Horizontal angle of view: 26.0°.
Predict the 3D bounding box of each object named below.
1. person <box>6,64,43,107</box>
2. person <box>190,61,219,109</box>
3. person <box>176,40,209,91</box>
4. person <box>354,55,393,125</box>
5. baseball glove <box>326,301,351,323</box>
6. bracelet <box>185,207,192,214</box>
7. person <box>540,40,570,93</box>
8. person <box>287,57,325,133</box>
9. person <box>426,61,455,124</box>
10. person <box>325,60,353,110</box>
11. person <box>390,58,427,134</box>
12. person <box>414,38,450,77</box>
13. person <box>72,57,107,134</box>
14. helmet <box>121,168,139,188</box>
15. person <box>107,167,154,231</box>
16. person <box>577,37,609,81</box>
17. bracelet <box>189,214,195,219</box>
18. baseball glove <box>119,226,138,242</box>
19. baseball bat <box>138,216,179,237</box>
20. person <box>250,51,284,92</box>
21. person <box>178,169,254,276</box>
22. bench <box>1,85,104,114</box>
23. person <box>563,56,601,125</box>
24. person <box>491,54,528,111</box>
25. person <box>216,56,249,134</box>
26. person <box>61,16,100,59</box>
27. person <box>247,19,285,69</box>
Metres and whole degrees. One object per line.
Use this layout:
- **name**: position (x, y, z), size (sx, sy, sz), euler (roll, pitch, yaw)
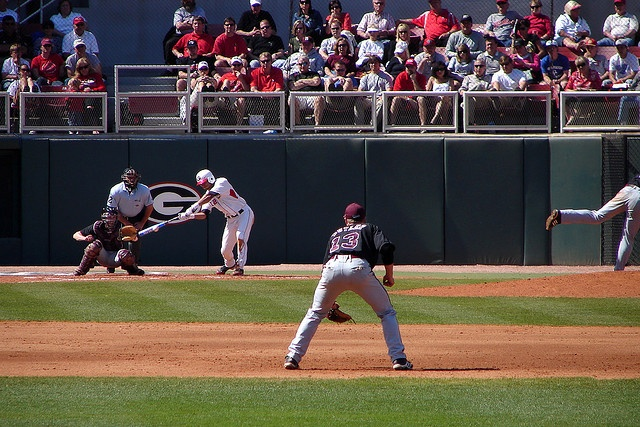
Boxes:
- **person**: position (-7.416, -3.202, 35.157), size (0.951, 1.713, 1.003), euler (-1, -25, -10)
- **person**: position (-2.903, -3.320, 35.059), size (0.576, 1.210, 0.500), euler (3, -23, -2)
- **person**: position (-3.287, -3.827, 35.429), size (0.678, 1.428, 0.707), euler (1, -6, -23)
- **person**: position (1.353, -3.116, 35.072), size (0.832, 1.983, 1.176), euler (-1, -11, 18)
- **baseball glove**: position (0.338, 1.905, 26.521), size (0.494, 0.313, 0.299), euler (18, -3, -2)
- **bracelet**: position (-2.993, -0.080, 32.146), size (0.144, 0.165, 0.243), euler (0, -1, -11)
- **person**: position (6.056, -3.884, 35.954), size (0.854, 1.428, 1.441), euler (-3, 6, 16)
- **person**: position (-0.328, -3.135, 35.217), size (0.778, 1.928, 0.769), euler (4, -5, -9)
- **person**: position (3.014, -3.057, 34.992), size (0.707, 1.732, 1.003), euler (1, 3, 16)
- **person**: position (0.521, -3.322, 35.250), size (0.604, 1.422, 0.608), euler (1, 0, 8)
- **person**: position (2.251, -3.013, 35.206), size (0.863, 1.911, 0.633), euler (0, -1, 2)
- **person**: position (2.887, -4.028, 35.769), size (0.647, 1.180, 0.728), euler (2, -2, -3)
- **person**: position (-5.758, -3.006, 35.079), size (0.845, 1.912, 0.693), euler (0, -25, -3)
- **helmet**: position (-4.346, -0.846, 32.325), size (0.361, 0.488, 0.457), euler (0, -1, -28)
- **person**: position (-4.385, 0.117, 32.447), size (1.010, 2.235, 0.749), euler (0, 3, -13)
- **person**: position (7.177, -4.065, 36.261), size (0.601, 1.371, 0.539), euler (4, -5, -3)
- **bracelet**: position (-2.929, 0.052, 32.135), size (0.101, 0.099, 0.023), euler (4, -10, -2)
- **baseball glove**: position (-4.320, 0.439, 31.815), size (0.383, 0.352, 0.392), euler (0, -1, -9)
- **baseball bat**: position (-3.886, 0.299, 33.990), size (1.011, 0.173, 0.139), euler (-23, 11, -7)
- **person**: position (-1.311, -3.554, 35.179), size (0.666, 1.152, 0.874), euler (0, -15, -2)
- **person**: position (-2.210, 0.218, 32.249), size (1.368, 2.480, 0.736), euler (-1, -1, -4)
- **bench**: position (-6.576, -2.948, 34.736), size (2.600, 0.589, 0.360), euler (-1, -1, -2)
- **person**: position (6.591, -3.259, 35.004), size (0.823, 1.859, 0.697), euler (0, -3, 1)
- **person**: position (4.772, -3.322, 34.960), size (0.708, 1.596, 0.661), euler (-1, -3, -1)
- **person**: position (-2.165, -3.067, 35.131), size (0.767, 1.956, 0.549), euler (5, -4, -11)
- **person**: position (-6.263, -4.708, 36.557), size (0.970, 1.203, 0.874), euler (-4, 3, -9)
- **person**: position (-1.384, -4.525, 36.660), size (1.046, 1.377, 1.062), euler (-2, 5, 1)
